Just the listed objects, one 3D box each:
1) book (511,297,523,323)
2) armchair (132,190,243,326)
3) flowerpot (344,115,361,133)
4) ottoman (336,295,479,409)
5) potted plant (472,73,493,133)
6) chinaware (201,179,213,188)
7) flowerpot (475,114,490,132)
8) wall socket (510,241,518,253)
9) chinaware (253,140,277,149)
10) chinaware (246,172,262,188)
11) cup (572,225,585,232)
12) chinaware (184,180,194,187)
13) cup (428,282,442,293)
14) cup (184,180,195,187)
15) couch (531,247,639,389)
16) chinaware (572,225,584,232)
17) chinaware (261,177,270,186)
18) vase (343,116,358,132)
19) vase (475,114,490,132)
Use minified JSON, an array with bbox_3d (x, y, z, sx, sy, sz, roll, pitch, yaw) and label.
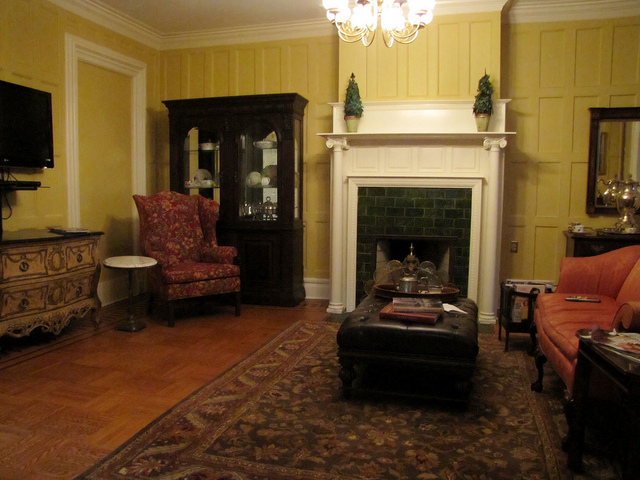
[{"bbox_3d":[1.671,0.597,4.185,0.088,0.210,0.044,-3,12,-14],"label":"book"},{"bbox_3d":[-1.360,0.134,5.061,0.911,1.244,0.866,-4,6,-33],"label":"armchair"},{"bbox_3d":[0.334,-1.205,5.160,0.164,0.125,0.156,0,1,-1],"label":"flowerpot"},{"bbox_3d":[0.594,0.770,3.414,0.630,0.364,0.903,1,6,11],"label":"ottoman"},{"bbox_3d":[1.604,-1.340,4.868,0.191,0.538,0.180,4,12,19],"label":"potted plant"},{"bbox_3d":[-1.309,-0.649,5.690,0.100,0.070,0.094,-1,1,1],"label":"chinaware"},{"bbox_3d":[1.597,-1.145,4.843,0.144,0.154,0.147,0,3,1],"label":"flowerpot"},{"bbox_3d":[2.105,0.079,5.333,0.071,0.124,0.018,2,11,9],"label":"wall socket"},{"bbox_3d":[-0.609,-1.062,5.484,0.281,0.096,0.020,5,12,22],"label":"chinaware"},{"bbox_3d":[-0.747,-0.674,5.526,0.154,0.158,0.045,13,5,7],"label":"chinaware"},{"bbox_3d":[2.623,-0.117,4.998,0.074,0.046,0.075,-1,8,0],"label":"cup"},{"bbox_3d":[-1.520,-0.651,5.744,0.055,0.087,0.086,34,52,16],"label":"chinaware"},{"bbox_3d":[0.933,0.389,3.995,0.086,0.062,0.080,2,-2,0],"label":"cup"},{"bbox_3d":[-1.514,-0.647,5.708,0.081,0.053,0.080,4,-5,0],"label":"cup"},{"bbox_3d":[1.751,0.529,3.241,0.479,0.491,0.928,3,8,15],"label":"couch"},{"bbox_3d":[2.622,-0.117,4.996,0.073,0.047,0.072,3,10,23],"label":"chinaware"},{"bbox_3d":[-0.607,-0.653,5.509,0.078,0.091,0.030,17,1,11],"label":"chinaware"},{"bbox_3d":[0.328,-1.211,5.148,0.136,0.107,0.138,4,5,22],"label":"vase"},{"bbox_3d":[1.597,-1.145,4.846,0.145,0.159,0.147,0,4,-1],"label":"vase"}]
